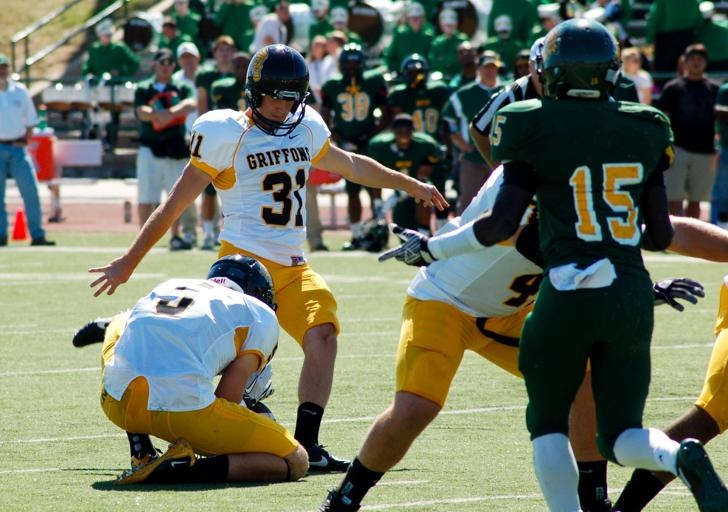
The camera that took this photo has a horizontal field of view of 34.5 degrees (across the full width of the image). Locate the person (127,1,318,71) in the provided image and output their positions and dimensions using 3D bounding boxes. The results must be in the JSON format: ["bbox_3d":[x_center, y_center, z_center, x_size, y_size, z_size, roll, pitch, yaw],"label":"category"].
[{"bbox_3d":[-1.805,-2.883,15.348,3.172,0.684,0.432,3,1,32],"label":"person"}]

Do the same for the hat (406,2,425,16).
[{"bbox_3d":[0.692,-3.286,15.752,0.204,0.224,0.614,3,6,0],"label":"hat"}]

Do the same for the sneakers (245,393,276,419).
[{"bbox_3d":[-0.583,0.854,6.596,0.194,0.084,0.116,28,-29,-8],"label":"sneakers"}]

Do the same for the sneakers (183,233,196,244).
[{"bbox_3d":[-1.910,-0.166,12.725,0.113,0.039,0.110,33,-28,-4],"label":"sneakers"}]

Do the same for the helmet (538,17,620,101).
[{"bbox_3d":[1.010,-0.936,5.541,0.327,0.315,0.395,3,29,4],"label":"helmet"}]

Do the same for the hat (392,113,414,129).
[{"bbox_3d":[0.409,-1.411,12.483,0.190,0.135,0.183,0,5,-15],"label":"hat"}]

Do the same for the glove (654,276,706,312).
[{"bbox_3d":[1.584,0.203,5.885,0.263,0.105,0.157,-2,44,25],"label":"glove"}]

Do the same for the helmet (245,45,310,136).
[{"bbox_3d":[-0.508,-0.955,6.751,0.411,0.521,0.521,-3,19,-18],"label":"helmet"}]

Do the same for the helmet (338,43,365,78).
[{"bbox_3d":[-0.131,-2.183,13.010,0.297,0.367,0.373,4,40,0],"label":"helmet"}]

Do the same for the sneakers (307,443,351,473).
[{"bbox_3d":[-0.149,1.131,6.471,0.328,0.130,0.106,1,0,-1],"label":"sneakers"}]

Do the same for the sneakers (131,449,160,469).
[{"bbox_3d":[-1.162,1.086,6.194,0.135,0.055,0.048,-30,-3,9],"label":"sneakers"}]

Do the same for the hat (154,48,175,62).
[{"bbox_3d":[-2.125,-2.098,12.397,0.174,0.128,0.252,2,8,-10],"label":"hat"}]

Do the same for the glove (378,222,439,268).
[{"bbox_3d":[0.232,-0.066,5.850,0.209,0.280,0.113,14,32,10],"label":"glove"}]
